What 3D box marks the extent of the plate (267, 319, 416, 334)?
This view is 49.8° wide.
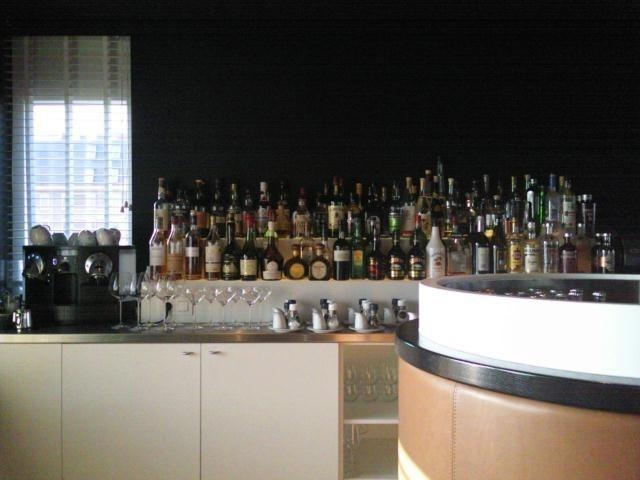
[{"bbox_3d":[0.066,0.466,3.682,0.704,0.030,0.223,0,0,-1],"label":"plate"}]

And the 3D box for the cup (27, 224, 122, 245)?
[{"bbox_3d":[-1.355,-0.015,3.931,0.572,0.183,0.174,0,-1,0],"label":"cup"}]

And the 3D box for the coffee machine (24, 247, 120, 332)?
[{"bbox_3d":[-1.410,0.255,3.845,0.474,0.423,0.158,2,4,-15],"label":"coffee machine"}]

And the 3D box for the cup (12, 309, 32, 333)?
[{"bbox_3d":[-1.580,0.425,3.648,0.092,0.109,0.117,0,0,-31],"label":"cup"}]
